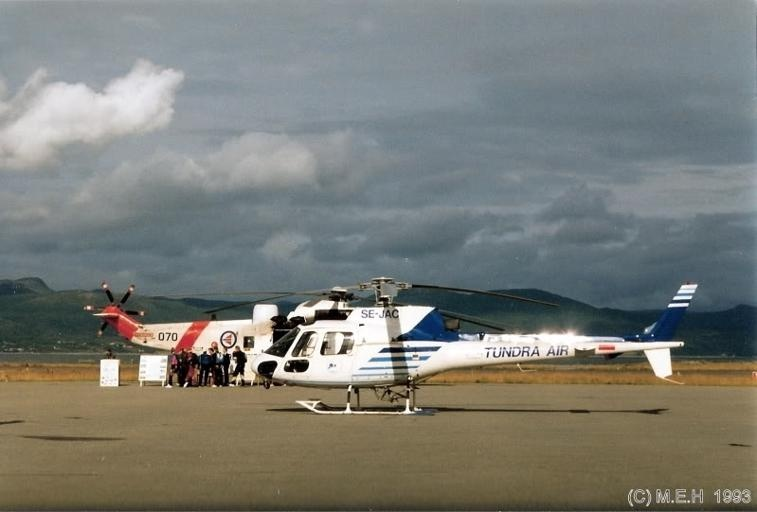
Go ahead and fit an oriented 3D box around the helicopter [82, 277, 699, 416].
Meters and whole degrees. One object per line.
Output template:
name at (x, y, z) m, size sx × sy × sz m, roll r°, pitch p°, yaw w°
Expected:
helicopter at (0.262, 3.313, 50.331) m, size 20.338 × 6.955 × 8.558 m, roll 0°, pitch -4°, yaw 9°
